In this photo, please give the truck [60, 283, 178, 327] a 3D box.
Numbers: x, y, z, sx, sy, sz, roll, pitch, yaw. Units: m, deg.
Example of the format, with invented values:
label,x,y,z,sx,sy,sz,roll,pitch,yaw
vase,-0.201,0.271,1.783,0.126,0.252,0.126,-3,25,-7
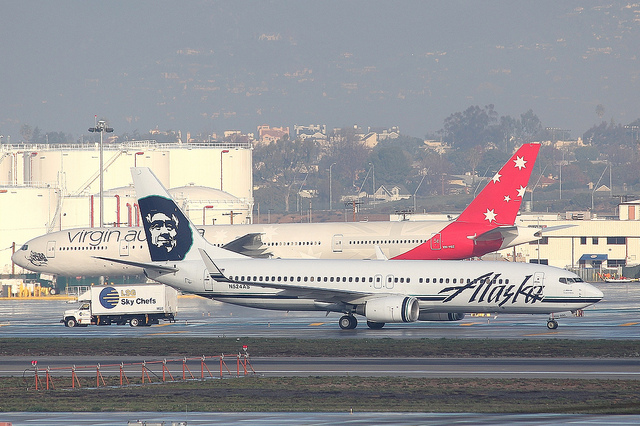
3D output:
label,x,y,z,sx,sy,sz,roll,pitch,yaw
truck,-18.441,8.634,148.120,12.113,3.324,3.497,-5,-11,31
